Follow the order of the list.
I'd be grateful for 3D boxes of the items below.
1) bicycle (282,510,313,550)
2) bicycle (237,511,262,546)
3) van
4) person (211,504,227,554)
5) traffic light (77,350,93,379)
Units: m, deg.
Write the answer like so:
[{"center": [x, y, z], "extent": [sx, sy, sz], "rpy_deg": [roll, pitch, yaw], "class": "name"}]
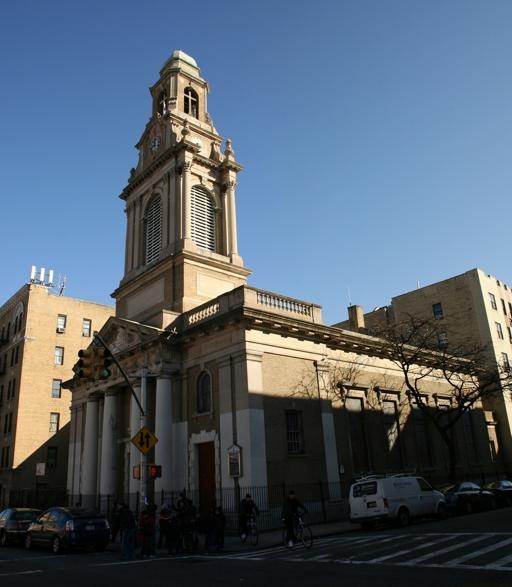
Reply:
[{"center": [1.309, 7.347, 15.133], "extent": [0.751, 0.876, 1.480], "rpy_deg": [20, -41, -32], "class": "bicycle"}, {"center": [-0.092, 7.994, 16.518], "extent": [0.695, 0.796, 1.369], "rpy_deg": [16, -37, -26], "class": "bicycle"}, {"center": [5.335, 7.513, 18.693], "extent": [3.893, 1.395, 1.953], "rpy_deg": [11, -25, -36], "class": "van"}, {"center": [-1.229, 7.579, 15.973], "extent": [0.394, 1.241, 1.286], "rpy_deg": [-3, -23, -6], "class": "person"}, {"center": [-4.937, 2.024, 14.290], "extent": [0.403, 0.864, 0.754], "rpy_deg": [2, -24, -17], "class": "traffic light"}]
